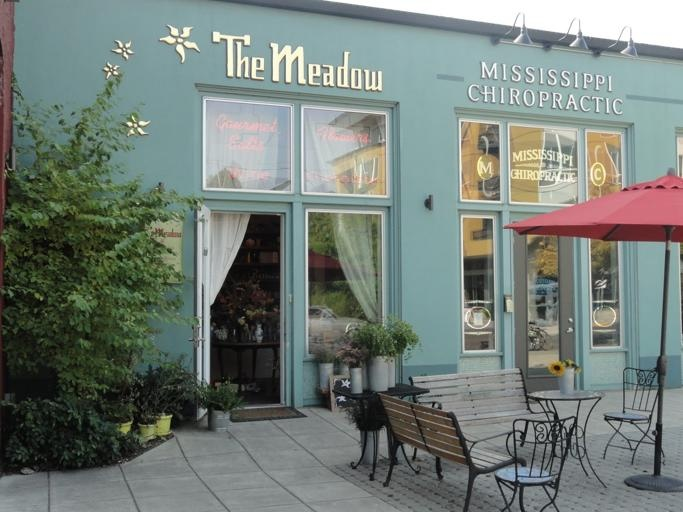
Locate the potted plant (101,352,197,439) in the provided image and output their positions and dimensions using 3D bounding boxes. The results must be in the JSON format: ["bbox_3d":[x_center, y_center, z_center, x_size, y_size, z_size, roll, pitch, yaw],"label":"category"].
[{"bbox_3d":[-2.410,1.750,8.468,1.039,0.721,1.020,-11,-11,-21],"label":"potted plant"}]

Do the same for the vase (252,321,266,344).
[{"bbox_3d":[-1.356,1.239,10.947,0.152,0.288,0.276,0,3,-6],"label":"vase"}]

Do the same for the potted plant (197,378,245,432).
[{"bbox_3d":[-1.618,1.963,8.866,0.690,0.703,0.532,2,-10,-8],"label":"potted plant"}]

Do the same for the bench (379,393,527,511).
[{"bbox_3d":[0.986,1.908,6.674,0.652,1.024,1.451,-2,4,-35],"label":"bench"}]

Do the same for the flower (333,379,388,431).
[{"bbox_3d":[0.228,1.760,7.891,0.560,0.257,0.861,0,2,-25],"label":"flower"}]

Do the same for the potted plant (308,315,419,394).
[{"bbox_3d":[0.418,1.147,7.805,0.870,0.769,0.409,0,4,2],"label":"potted plant"}]

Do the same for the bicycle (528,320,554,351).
[{"bbox_3d":[3.187,1.340,11.076,0.594,0.366,0.293,3,-7,-17],"label":"bicycle"}]

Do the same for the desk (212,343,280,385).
[{"bbox_3d":[-1.433,1.754,11.374,0.993,0.598,0.986,8,-10,-33],"label":"desk"}]

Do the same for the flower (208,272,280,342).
[{"bbox_3d":[-1.605,0.920,11.159,1.130,0.912,0.806,0,3,-4],"label":"flower"}]
